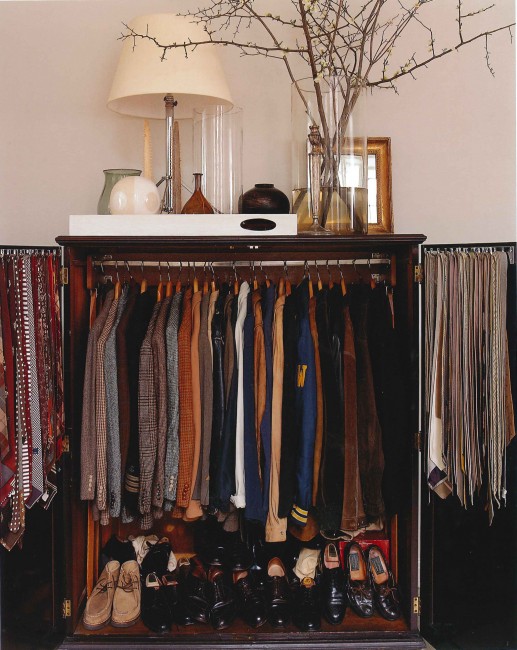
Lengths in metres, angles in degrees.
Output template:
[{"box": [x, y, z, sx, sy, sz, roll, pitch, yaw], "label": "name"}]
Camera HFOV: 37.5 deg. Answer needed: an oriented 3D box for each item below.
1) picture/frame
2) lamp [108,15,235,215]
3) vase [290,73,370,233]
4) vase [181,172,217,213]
[{"box": [0.311, -0.431, 2.643, 0.268, 0.436, 0.340, 0, 3, 4], "label": "picture/frame"}, {"box": [-0.334, -0.728, 2.640, 0.373, 0.684, 0.448, -2, 3, -43], "label": "lamp"}, {"box": [0.272, -0.503, 2.635, 0.227, 0.551, 0.276, 1, -17, 2], "label": "vase"}, {"box": [-0.194, -0.439, 2.514, 0.086, 0.142, 0.126, 2, 3, 41], "label": "vase"}]
